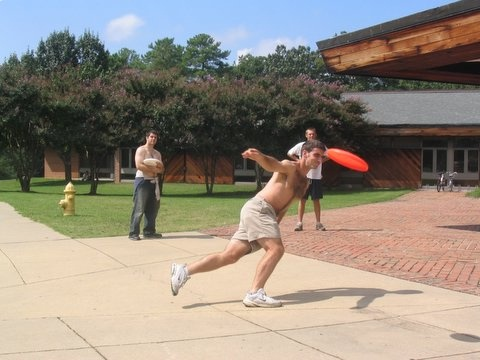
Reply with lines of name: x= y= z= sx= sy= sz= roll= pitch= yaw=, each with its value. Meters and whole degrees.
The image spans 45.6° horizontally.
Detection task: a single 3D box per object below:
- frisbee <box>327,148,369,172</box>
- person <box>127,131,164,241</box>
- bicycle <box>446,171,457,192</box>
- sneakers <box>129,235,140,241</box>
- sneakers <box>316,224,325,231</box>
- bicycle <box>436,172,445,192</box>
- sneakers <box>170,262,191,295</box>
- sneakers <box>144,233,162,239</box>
frisbee: x=1.469 y=-0.198 z=7.984 sx=0.493 sy=0.113 sz=0.498 roll=21 pitch=11 yaw=6
person: x=-1.823 y=0.093 z=11.033 sx=0.658 sy=2.058 sz=0.886 roll=-1 pitch=2 yaw=-9
bicycle: x=11.298 y=0.076 z=30.443 sx=0.815 sy=1.042 sz=2.193 roll=1 pitch=6 yaw=19
sneakers: x=-1.979 y=1.087 z=10.729 sx=0.166 sy=0.068 sz=0.088 roll=-3 pitch=-10 yaw=45
sneakers: x=1.780 y=1.045 z=12.665 sx=0.103 sy=0.109 sz=0.254 roll=1 pitch=-5 yaw=-10
bicycle: x=11.145 y=0.078 z=31.443 sx=0.377 sy=0.998 sz=4.616 roll=0 pitch=1 yaw=20
sneakers: x=-0.736 y=1.181 z=6.964 sx=0.233 sy=0.428 sz=0.153 roll=3 pitch=-14 yaw=0
sneakers: x=-1.685 y=1.072 z=11.039 sx=0.348 sy=0.136 sz=0.119 roll=1 pitch=-3 yaw=-13
